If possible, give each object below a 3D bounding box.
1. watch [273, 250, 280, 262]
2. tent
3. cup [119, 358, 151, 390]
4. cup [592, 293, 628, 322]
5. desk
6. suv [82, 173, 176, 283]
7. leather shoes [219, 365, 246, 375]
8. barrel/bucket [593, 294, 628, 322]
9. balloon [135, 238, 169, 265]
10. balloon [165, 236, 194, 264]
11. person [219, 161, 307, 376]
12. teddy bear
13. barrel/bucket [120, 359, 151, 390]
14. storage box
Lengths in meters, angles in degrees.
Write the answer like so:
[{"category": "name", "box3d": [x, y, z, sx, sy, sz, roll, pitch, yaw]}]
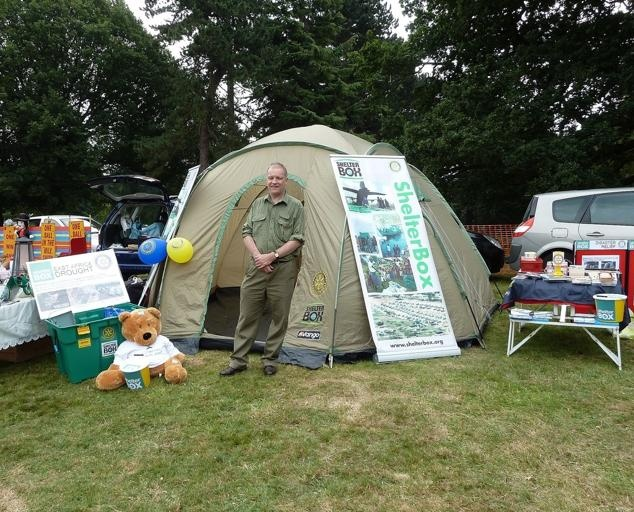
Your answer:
[{"category": "watch", "box3d": [-0.433, -0.018, 4.967, 0.055, 0.084, 0.078, 1, -2, -9]}, {"category": "tent", "box3d": [-0.154, -0.052, 7.266, 3.989, 2.144, 3.703, 0, 4, 16]}, {"category": "cup", "box3d": [-1.953, 1.273, 5.060, 0.349, 0.257, 0.347, -3, 14, 1]}, {"category": "cup", "box3d": [3.279, 0.582, 5.280, 0.311, 0.236, 0.309, 1, -3, 0]}, {"category": "desk", "box3d": [3.012, 0.633, 5.757, 1.264, 0.813, 1.257, 0, 2, 21]}, {"category": "suv", "box3d": [-3.453, -0.732, 9.733, 1.636, 1.790, 2.853, -5, 14, -14]}, {"category": "leather shoes", "box3d": [-0.934, 1.281, 5.217, 0.279, 0.117, 0.102, 7, -4, -44]}, {"category": "barrel/bucket", "box3d": [3.277, 0.581, 5.278, 0.308, 0.229, 0.307, 0, -3, 0]}, {"category": "balloon", "box3d": [-2.147, -0.048, 6.146, 0.347, 0.358, 0.217, -4, 12, -18]}, {"category": "balloon", "box3d": [-1.780, -0.085, 6.065, 0.317, 0.329, 0.201, -37, -2, -20]}, {"category": "person", "box3d": [-0.581, 0.146, 5.196, 0.920, 2.306, 0.548, -2, 11, -7]}, {"category": "teddy bear", "box3d": [-1.946, 1.037, 5.173, 0.954, 0.805, 0.811, -11, 20, -41]}, {"category": "barrel/bucket", "box3d": [-1.966, 1.261, 5.018, 0.333, 0.257, 0.275, -1, 11, -3]}, {"category": "storage box", "box3d": [-2.563, 1.021, 5.503, 0.609, 0.706, 0.974, 4, 10, 42]}]
